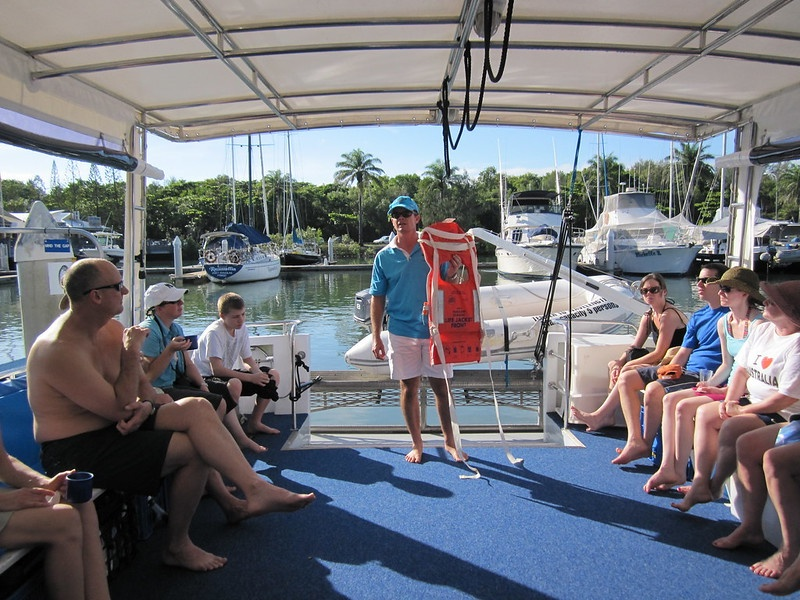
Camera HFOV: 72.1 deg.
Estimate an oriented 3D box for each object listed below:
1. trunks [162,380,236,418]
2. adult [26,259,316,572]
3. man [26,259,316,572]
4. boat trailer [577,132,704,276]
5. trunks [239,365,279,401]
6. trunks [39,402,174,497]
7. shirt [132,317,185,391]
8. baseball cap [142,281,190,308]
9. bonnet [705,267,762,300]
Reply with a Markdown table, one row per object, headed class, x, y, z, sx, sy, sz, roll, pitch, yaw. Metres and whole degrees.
| class | x | y | z | sx | sy | sz | roll | pitch | yaw |
| --- | --- | --- | --- | --- | --- | --- | --- | --- | --- |
| trunks | -1.536 | 0.724 | 4.324 | 0.381 | 0.121 | 0.385 | 18 | 1 | 16 |
| adult | -1.549 | 0.708 | 3.455 | 1.320 | 1.939 | 0.488 | -2 | 11 | -5 |
| man | -1.420 | 0.720 | 3.567 | 1.712 | 1.898 | 0.774 | 4 | 6 | -3 |
| boat trailer | 12.991 | -4.786 | 35.437 | 5.418 | 6.215 | 15.693 | 0 | 6 | 5 |
| trunks | -1.350 | 0.788 | 5.182 | 0.393 | 0.231 | 0.171 | 6 | 28 | 1 |
| trunks | -1.771 | 0.971 | 3.324 | 0.758 | 0.403 | 0.168 | 0 | 11 | 1 |
| shirt | -1.796 | 0.417 | 4.086 | 0.301 | 0.564 | 0.491 | -1 | 7 | 1 |
| baseball cap | -1.912 | -0.021 | 4.416 | 0.331 | 0.174 | 0.234 | -18 | 18 | -6 |
| bonnet | 2.628 | -0.139 | 4.259 | 0.252 | 0.133 | 0.257 | 23 | -3 | 5 |
